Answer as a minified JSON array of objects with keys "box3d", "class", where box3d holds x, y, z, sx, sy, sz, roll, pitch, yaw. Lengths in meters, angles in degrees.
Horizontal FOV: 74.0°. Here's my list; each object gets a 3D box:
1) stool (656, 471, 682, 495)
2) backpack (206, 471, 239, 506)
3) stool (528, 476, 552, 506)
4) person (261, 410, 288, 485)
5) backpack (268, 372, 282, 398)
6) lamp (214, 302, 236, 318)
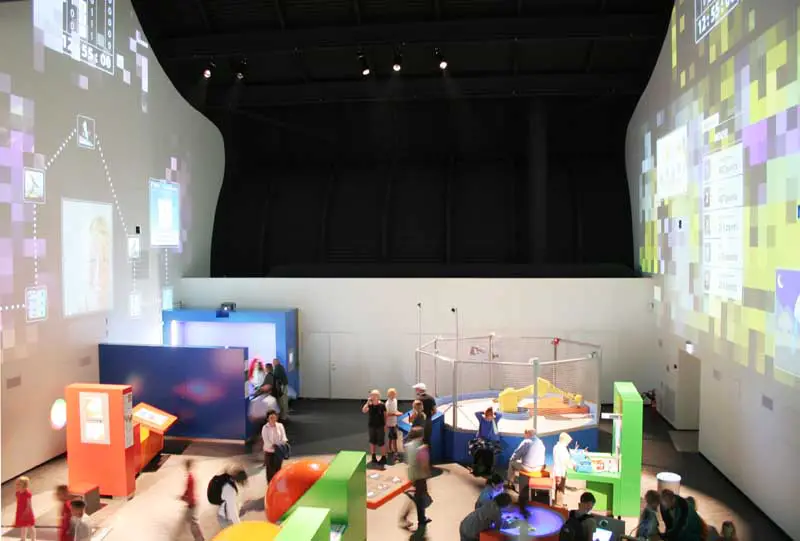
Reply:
[{"box3d":[5.068,3.996,9.965,0.332,0.361,0.603,-1,-4,22],"class":"stool"},{"box3d":[-2.947,3.604,8.877,0.540,0.588,0.384,7,-13,-17],"class":"backpack"},{"box3d":[2.735,4.254,10.511,0.560,0.573,0.422,-1,-8,12],"class":"stool"},{"box3d":[-2.579,3.665,11.062,0.508,1.617,0.686,2,-4,-23],"class":"person"},{"box3d":[-3.179,2.977,13.821,0.295,0.647,0.147,2,-4,-22],"class":"backpack"},{"box3d":[-5.162,1.166,15.923,0.390,0.210,0.571,1,4,3],"class":"lamp"}]
